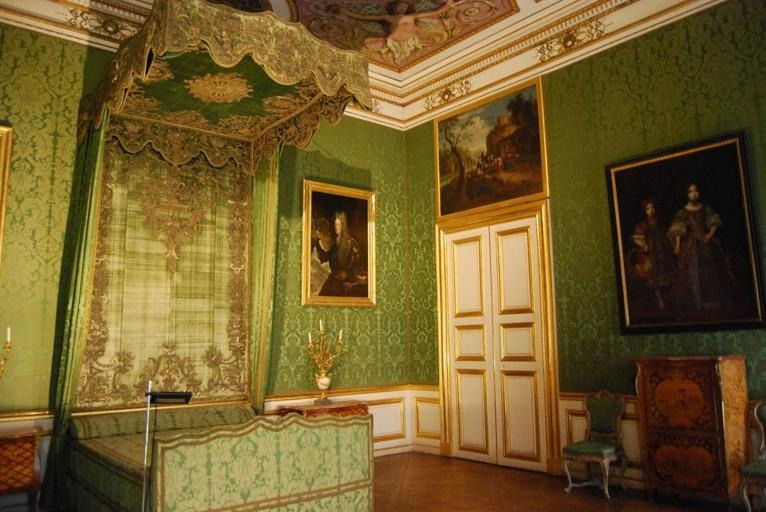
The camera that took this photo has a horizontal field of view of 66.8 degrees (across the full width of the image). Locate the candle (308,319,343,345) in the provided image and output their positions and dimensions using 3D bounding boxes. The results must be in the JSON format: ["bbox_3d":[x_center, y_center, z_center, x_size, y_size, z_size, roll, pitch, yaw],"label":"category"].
[{"bbox_3d":[-0.815,1.088,8.287,0.358,0.251,0.374,-4,-10,20],"label":"candle"}]

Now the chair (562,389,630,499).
[{"bbox_3d":[2.464,2.177,6.810,0.714,1.145,0.680,-6,-10,27],"label":"chair"}]

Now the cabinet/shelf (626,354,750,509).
[{"bbox_3d":[3.267,1.850,6.130,0.896,1.853,1.095,17,-21,-39],"label":"cabinet/shelf"}]
